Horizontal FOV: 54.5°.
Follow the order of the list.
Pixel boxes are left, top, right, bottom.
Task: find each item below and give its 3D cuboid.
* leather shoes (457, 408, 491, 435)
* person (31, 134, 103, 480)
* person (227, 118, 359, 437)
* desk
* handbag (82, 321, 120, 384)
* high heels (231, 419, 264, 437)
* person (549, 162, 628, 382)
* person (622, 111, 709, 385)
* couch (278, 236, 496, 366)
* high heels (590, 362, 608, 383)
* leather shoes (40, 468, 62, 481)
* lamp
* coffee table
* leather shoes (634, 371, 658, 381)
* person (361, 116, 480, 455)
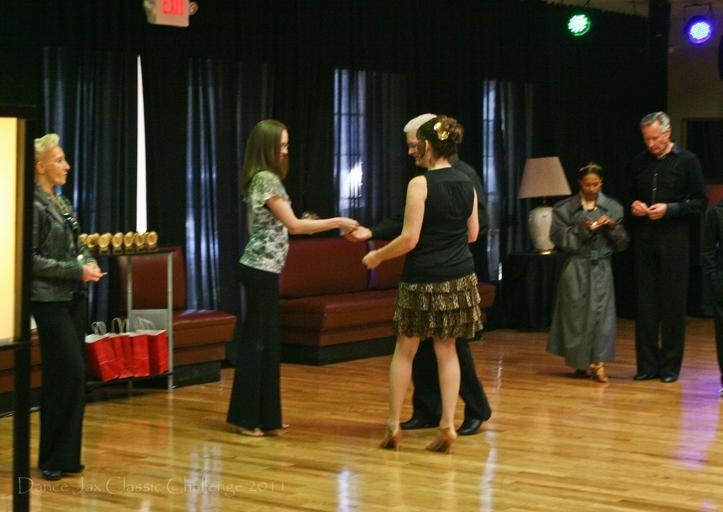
[{"bbox_3d":[0.708,1.056,4.420,0.093,0.117,0.288,-5,-6,36],"label":"leather shoes"},{"bbox_3d":[-1.568,0.271,3.709,0.417,1.822,0.370,5,9,44],"label":"person"},{"bbox_3d":[-0.541,0.158,4.341,0.669,1.980,0.338,-2,7,0],"label":"person"},{"bbox_3d":[-1.878,0.486,5.578,0.711,1.099,0.661,-2,-3,40],"label":"desk"},{"bbox_3d":[-1.985,0.726,5.310,0.169,0.423,0.346,-20,13,-38],"label":"handbag"},{"bbox_3d":[-0.752,1.107,4.498,0.273,0.122,0.089,-6,-3,34],"label":"high heels"},{"bbox_3d":[1.883,0.139,5.841,0.618,1.771,0.372,1,7,21],"label":"person"},{"bbox_3d":[2.543,-0.067,5.847,0.574,2.241,0.461,1,7,21],"label":"person"},{"bbox_3d":[0.227,0.414,7.327,2.322,1.182,0.806,-4,4,-40],"label":"couch"},{"bbox_3d":[1.975,0.962,5.826,0.137,0.158,0.148,-1,7,5],"label":"high heels"},{"bbox_3d":[-1.627,1.154,3.687,0.115,0.048,0.043,0,-1,35],"label":"leather shoes"},{"bbox_3d":[2.247,-0.629,8.588,0.651,1.235,0.674,-4,-2,-24],"label":"lamp"},{"bbox_3d":[2.078,0.460,8.758,0.953,0.956,0.882,7,-6,28],"label":"coffee table"},{"bbox_3d":[2.375,1.016,5.901,0.210,0.093,0.081,4,1,20],"label":"leather shoes"},{"bbox_3d":[0.370,0.186,3.976,0.597,1.926,0.275,-1,7,1],"label":"person"}]
